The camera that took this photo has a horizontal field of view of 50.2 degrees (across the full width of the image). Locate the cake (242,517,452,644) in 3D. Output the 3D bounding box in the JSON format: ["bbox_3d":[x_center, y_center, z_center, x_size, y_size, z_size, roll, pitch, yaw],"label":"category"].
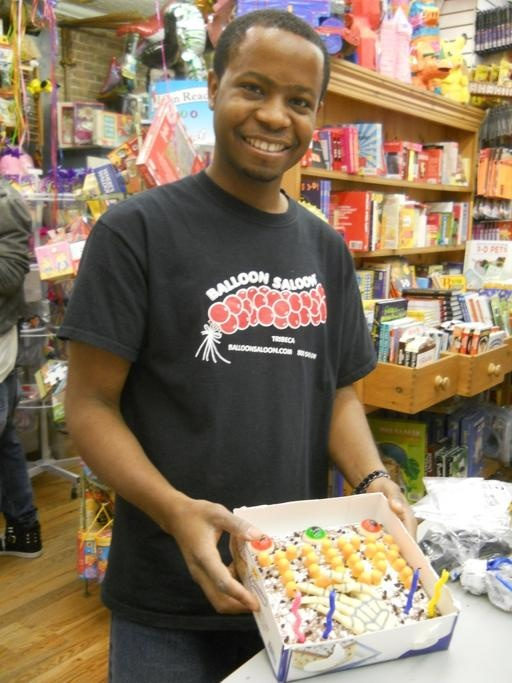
[{"bbox_3d":[0.120,0.315,0.753,0.240,0.061,0.248,0,9,-17],"label":"cake"}]
